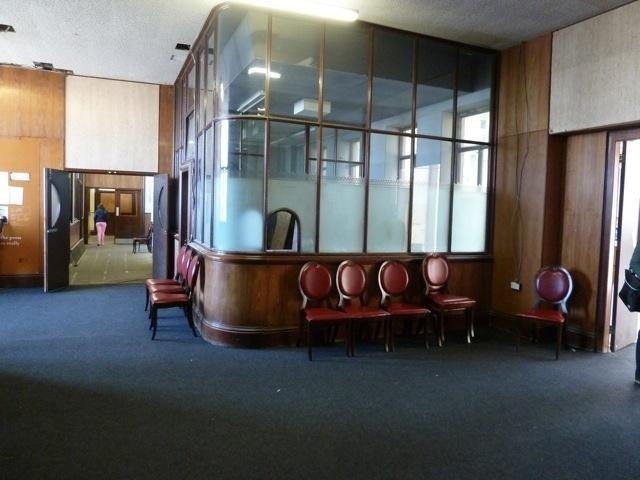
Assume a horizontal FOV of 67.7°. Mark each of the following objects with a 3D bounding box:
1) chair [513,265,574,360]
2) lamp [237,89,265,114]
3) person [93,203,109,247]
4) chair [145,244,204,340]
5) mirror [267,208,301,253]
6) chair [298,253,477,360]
[{"bbox_3d":[2.970,0.922,6.314,0.573,1.073,0.984,8,12,31],"label":"chair"},{"bbox_3d":[-0.992,-1.979,6.841,0.251,0.427,1.932,-1,11,-11],"label":"lamp"},{"bbox_3d":[-8.063,-0.569,17.568,0.429,1.551,2.148,-4,12,-26],"label":"person"},{"bbox_3d":[-2.052,0.871,7.028,0.929,1.677,1.187,3,2,-16],"label":"chair"},{"bbox_3d":[-0.535,-0.141,6.210,0.403,0.510,0.054,3,12,-25],"label":"mirror"},{"bbox_3d":[0.775,0.859,6.216,2.140,1.142,0.737,-2,11,-19],"label":"chair"}]
